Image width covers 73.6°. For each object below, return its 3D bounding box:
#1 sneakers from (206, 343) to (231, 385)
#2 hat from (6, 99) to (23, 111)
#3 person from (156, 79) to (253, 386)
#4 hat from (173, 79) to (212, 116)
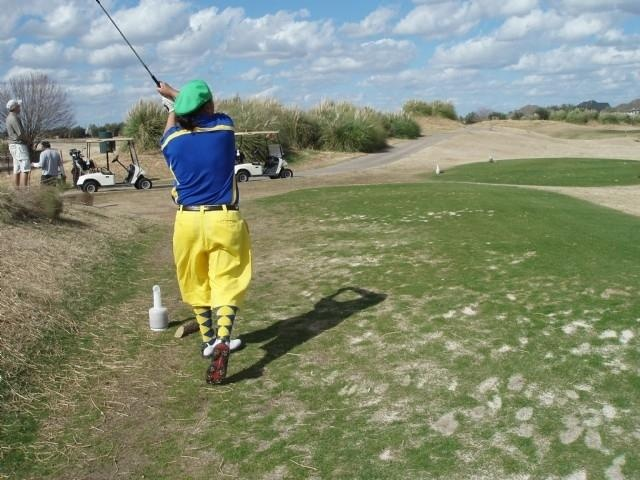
[{"bbox_3d":[-0.871,1.106,3.739,0.186,0.362,0.179,14,-11,7],"label":"sneakers"},{"bbox_3d":[-7.885,-3.338,10.946,0.295,0.285,0.516,-11,14,-31],"label":"hat"},{"bbox_3d":[-1.065,-0.015,3.777,0.695,2.622,0.788,-1,13,16],"label":"person"},{"bbox_3d":[-1.119,-1.167,3.621,0.328,0.295,0.224,-4,12,0],"label":"hat"}]
